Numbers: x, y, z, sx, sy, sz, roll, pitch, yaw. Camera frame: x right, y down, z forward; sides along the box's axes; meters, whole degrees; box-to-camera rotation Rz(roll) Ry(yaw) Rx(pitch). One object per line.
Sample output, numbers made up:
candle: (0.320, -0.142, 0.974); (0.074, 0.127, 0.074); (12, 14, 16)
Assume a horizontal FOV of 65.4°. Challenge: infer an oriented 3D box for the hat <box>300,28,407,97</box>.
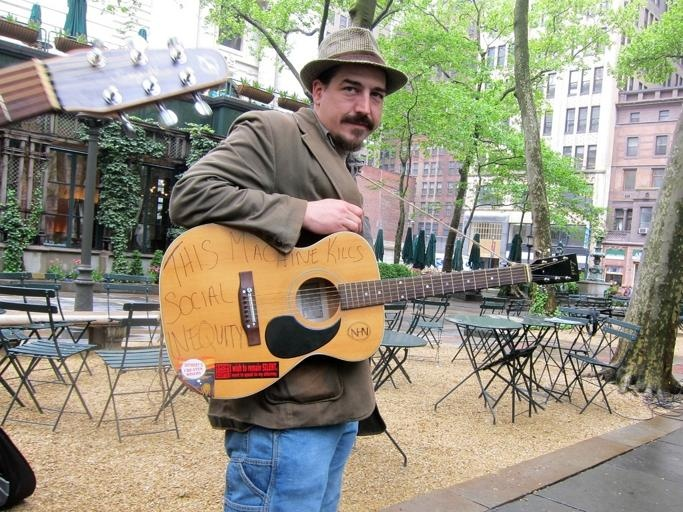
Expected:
hat: (0.036, -0.842, 2.284); (0.342, 0.133, 0.312); (-2, -15, 29)
